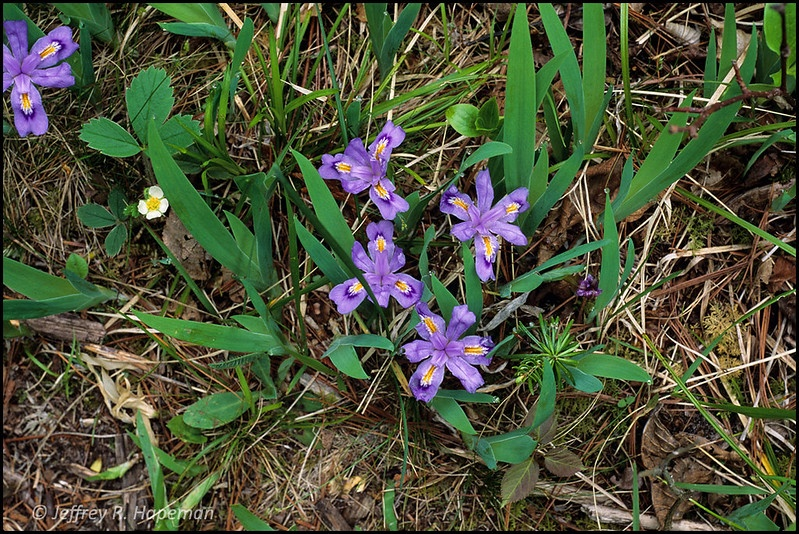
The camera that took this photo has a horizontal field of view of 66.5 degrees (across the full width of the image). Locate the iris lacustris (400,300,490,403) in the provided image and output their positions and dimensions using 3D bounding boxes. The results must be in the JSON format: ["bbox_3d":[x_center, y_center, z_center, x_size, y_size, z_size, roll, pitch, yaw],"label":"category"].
[{"bbox_3d":[0.199,0.339,2.449,0.366,0.180,0.360,-4,68,-1],"label":"iris lacustris"}]
